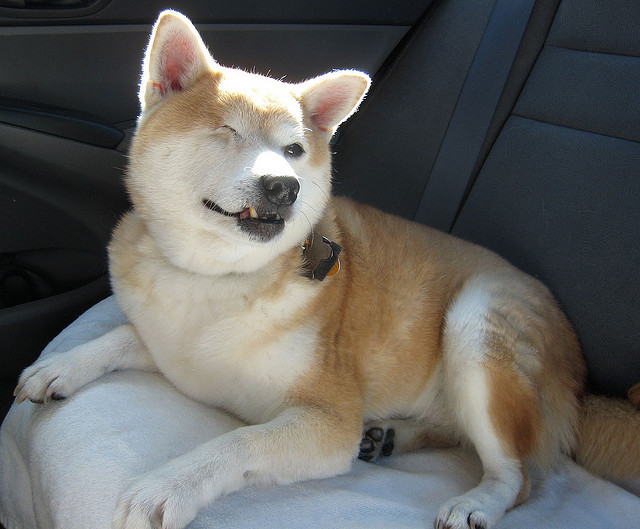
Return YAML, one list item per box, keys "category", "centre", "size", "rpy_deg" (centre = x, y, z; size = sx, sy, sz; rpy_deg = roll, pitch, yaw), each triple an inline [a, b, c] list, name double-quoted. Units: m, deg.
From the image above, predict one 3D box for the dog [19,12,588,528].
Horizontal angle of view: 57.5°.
- category: "dog"
  centre: [0.097, 0.236, 2.209]
  size: [1.840, 1.223, 1.396]
  rpy_deg: [25, -17, -39]

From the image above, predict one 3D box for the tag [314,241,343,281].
- category: "tag"
  centre: [0.045, -0.012, 1.912]
  size: [0.035, 0.115, 0.113]
  rpy_deg: [38, 27, -17]
